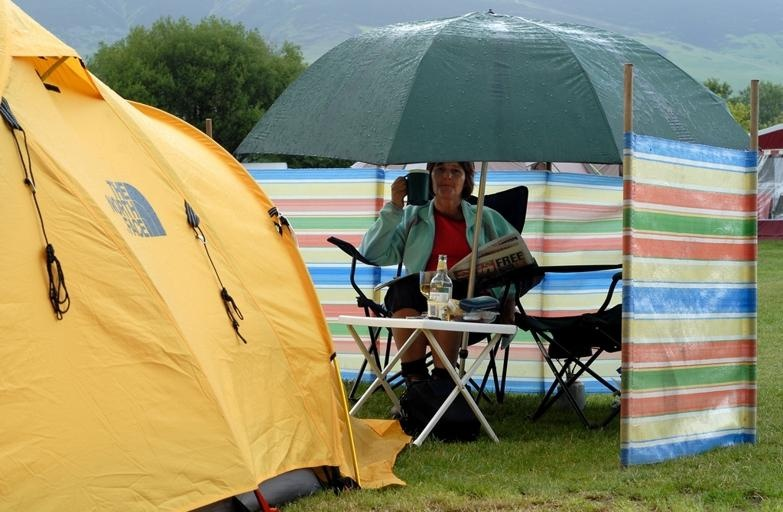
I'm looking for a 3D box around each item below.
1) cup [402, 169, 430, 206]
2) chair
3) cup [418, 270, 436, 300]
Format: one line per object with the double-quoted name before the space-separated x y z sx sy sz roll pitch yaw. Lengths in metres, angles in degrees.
"cup" 0.129 -0.400 6.774 0.130 0.184 0.203 0 -8 -7
"chair" 0.617 0.376 7.262 1.487 1.100 0.598 1 -2 33
"cup" 0.196 0.167 6.623 0.123 0.206 0.129 1 -10 0
